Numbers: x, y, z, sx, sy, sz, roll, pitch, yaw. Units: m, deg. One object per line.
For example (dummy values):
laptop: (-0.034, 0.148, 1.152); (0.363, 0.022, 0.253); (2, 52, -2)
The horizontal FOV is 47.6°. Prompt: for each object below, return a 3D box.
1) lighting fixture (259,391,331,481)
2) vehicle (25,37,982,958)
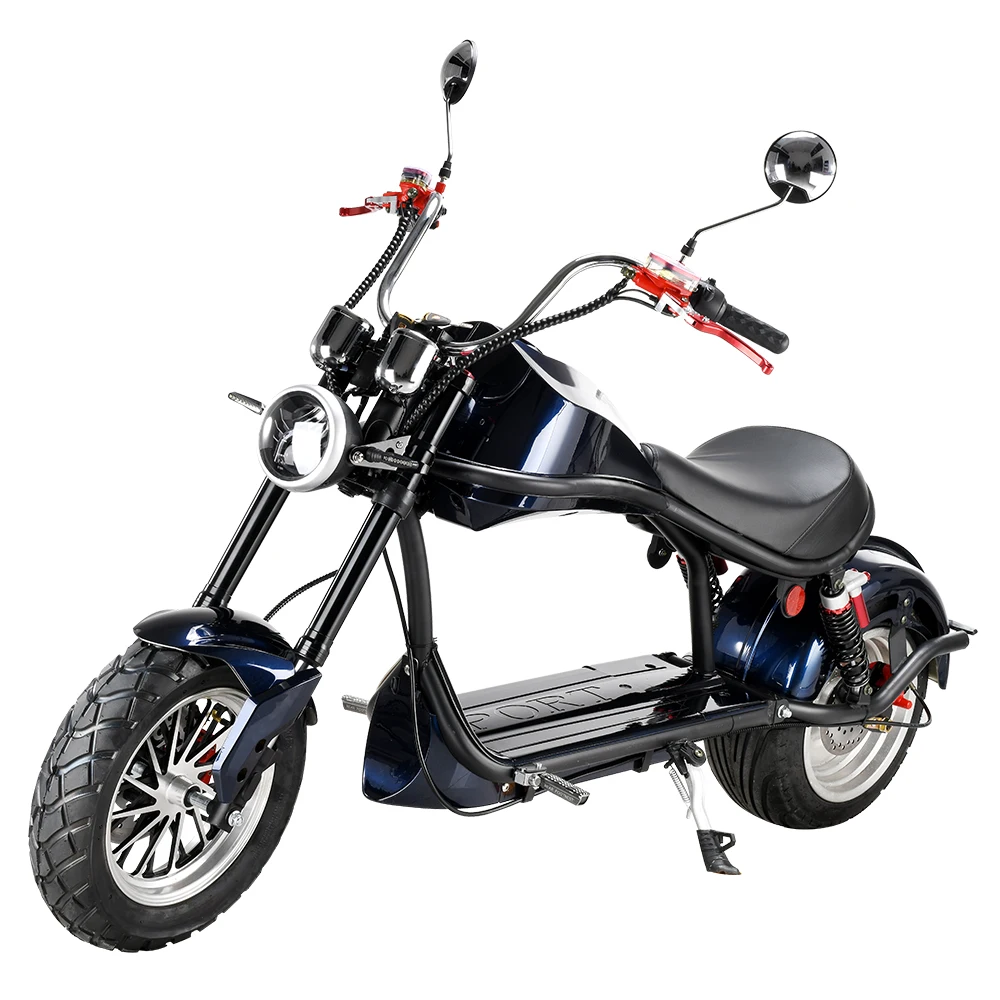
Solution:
lighting fixture: (-0.391, -0.130, 2.385); (0.176, 0.075, 0.179); (25, -73, 29)
vehicle: (0.193, 0.057, 2.914); (2.967, 1.722, 1.399); (1, 1, -34)
